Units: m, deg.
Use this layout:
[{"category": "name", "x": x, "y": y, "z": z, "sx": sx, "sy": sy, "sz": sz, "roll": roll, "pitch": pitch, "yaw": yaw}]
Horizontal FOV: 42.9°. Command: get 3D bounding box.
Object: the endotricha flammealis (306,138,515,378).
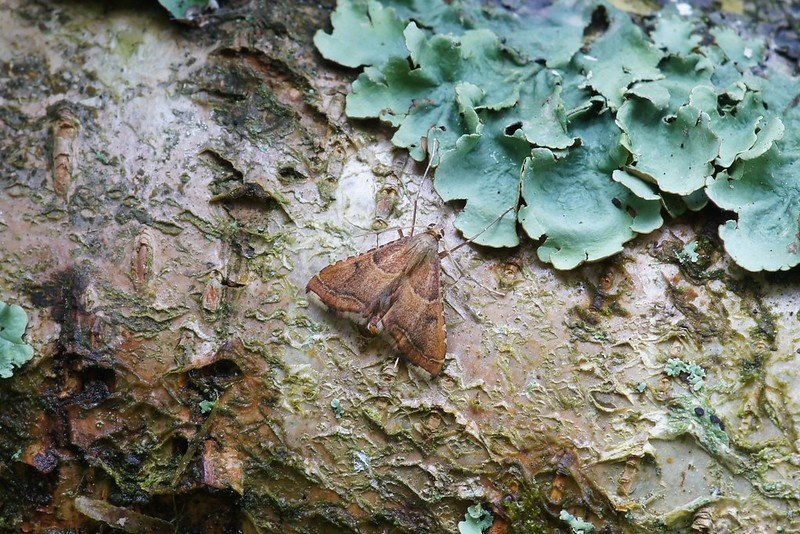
[{"category": "endotricha flammealis", "x": -0.023, "y": 0.097, "z": 5.829, "sx": 0.891, "sy": 0.226, "sz": 0.632, "roll": 33, "pitch": 66, "yaw": 2}]
